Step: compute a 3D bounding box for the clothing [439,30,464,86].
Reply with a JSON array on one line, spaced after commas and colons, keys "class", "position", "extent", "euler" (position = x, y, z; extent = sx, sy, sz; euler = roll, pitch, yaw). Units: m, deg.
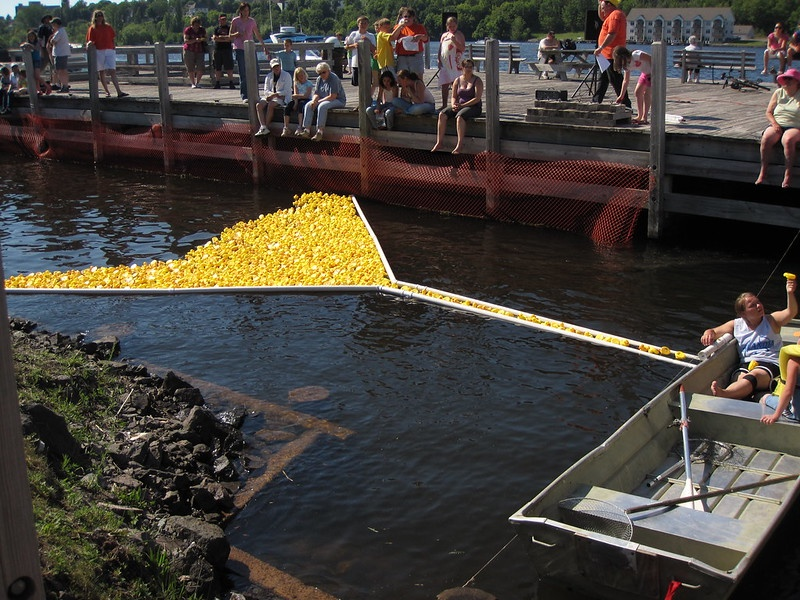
[{"class": "clothing", "position": [0.971, -4.838, 14.574], "extent": [0.459, 1.003, 0.372], "euler": [-1, 15, 3]}]

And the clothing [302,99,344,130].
[{"class": "clothing", "position": [-1.646, -3.915, 15.547], "extent": [1.014, 0.589, 0.659], "euler": [8, 16, 32]}]

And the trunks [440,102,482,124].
[{"class": "trunks", "position": [1.105, -3.511, 13.560], "extent": [0.585, 0.230, 0.387], "euler": [8, 20, 6]}]

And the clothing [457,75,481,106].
[{"class": "clothing", "position": [1.245, -3.873, 13.525], "extent": [0.540, 0.470, 0.350], "euler": [13, 22, 26]}]

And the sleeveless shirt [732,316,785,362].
[{"class": "sleeveless shirt", "position": [3.678, 0.400, 7.506], "extent": [0.339, 0.509, 0.502], "euler": [7, -9, -44]}]

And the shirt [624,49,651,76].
[{"class": "shirt", "position": [4.105, -4.140, 12.637], "extent": [0.385, 0.465, 0.799], "euler": [3, 14, 19]}]

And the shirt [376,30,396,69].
[{"class": "shirt", "position": [-0.311, -5.053, 14.663], "extent": [0.410, 0.572, 0.617], "euler": [-18, 40, -15]}]
